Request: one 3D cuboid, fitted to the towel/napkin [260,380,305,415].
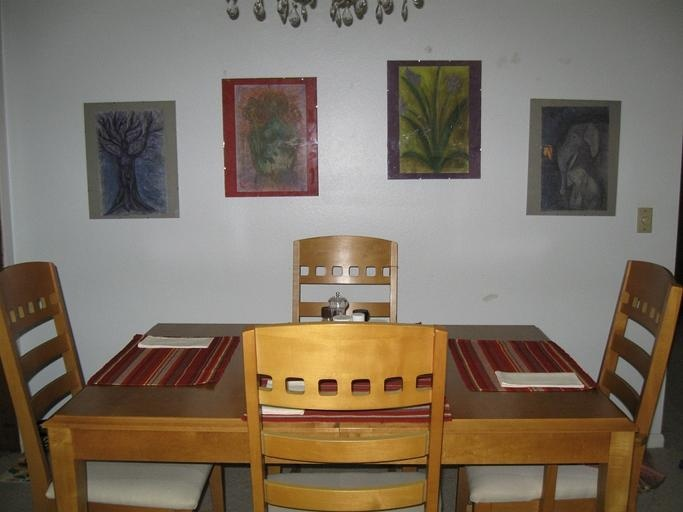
[{"bbox_3d":[-0.203,0.485,1.930,0.104,0.029,0.110,1,16,-1],"label":"towel/napkin"}]

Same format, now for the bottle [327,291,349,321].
[{"bbox_3d":[-0.010,0.238,2.781,0.101,0.182,0.115,2,6,8],"label":"bottle"}]
